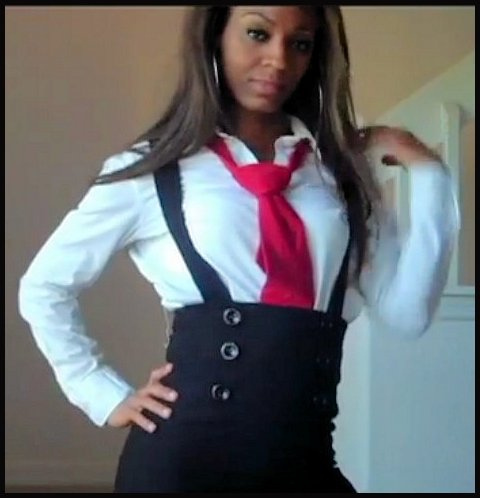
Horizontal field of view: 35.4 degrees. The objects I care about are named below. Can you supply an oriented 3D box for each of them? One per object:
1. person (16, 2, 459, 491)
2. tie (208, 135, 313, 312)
[{"bbox_3d":[0.014,-0.029,1.684,0.707,0.908,0.904,20,38,35],"label":"person"},{"bbox_3d":[0.045,-0.066,1.650,0.170,0.259,0.372,-7,30,-6],"label":"tie"}]
